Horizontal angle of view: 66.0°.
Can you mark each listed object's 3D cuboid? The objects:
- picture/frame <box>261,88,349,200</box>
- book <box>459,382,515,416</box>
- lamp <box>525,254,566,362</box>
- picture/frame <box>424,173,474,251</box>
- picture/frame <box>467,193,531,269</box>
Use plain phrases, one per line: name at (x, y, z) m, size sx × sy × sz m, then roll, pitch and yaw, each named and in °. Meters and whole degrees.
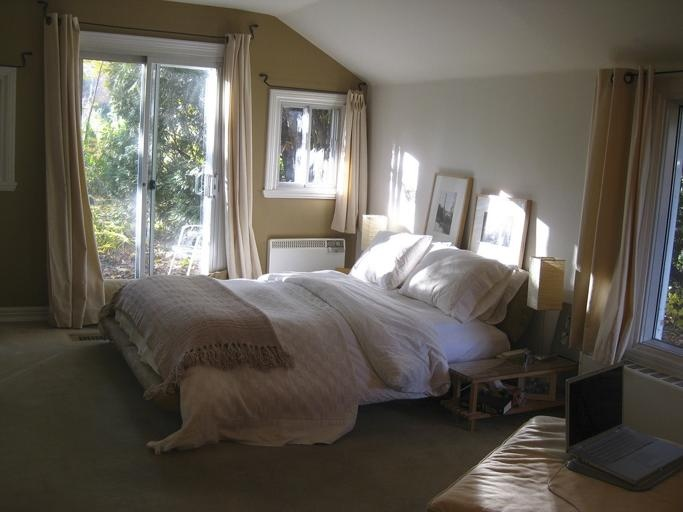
picture/frame at (-0.454, -1.347, 6.152) m, size 1.171 × 1.596 × 0.106 m, roll -1°, pitch 12°, yaw -26°
book at (1.094, 1.037, 3.796) m, size 0.250 × 0.068 × 0.254 m, roll -4°, pitch 8°, yaw -21°
lamp at (1.540, 0.376, 4.022) m, size 0.257 × 0.741 × 0.271 m, roll -7°, pitch 12°, yaw -26°
picture/frame at (1.054, -0.410, 5.039) m, size 0.078 × 0.833 × 0.569 m, roll 4°, pitch 12°, yaw -30°
picture/frame at (1.382, -0.205, 4.526) m, size 0.032 × 0.514 × 0.473 m, roll -1°, pitch 27°, yaw -32°
